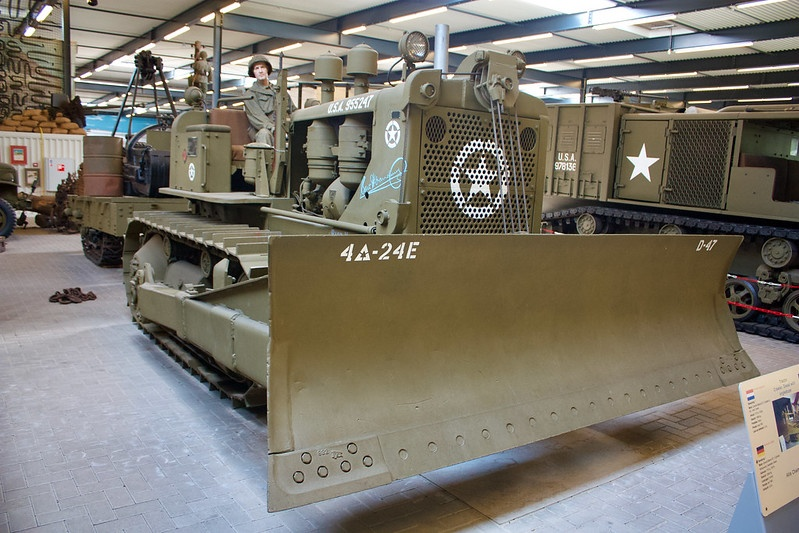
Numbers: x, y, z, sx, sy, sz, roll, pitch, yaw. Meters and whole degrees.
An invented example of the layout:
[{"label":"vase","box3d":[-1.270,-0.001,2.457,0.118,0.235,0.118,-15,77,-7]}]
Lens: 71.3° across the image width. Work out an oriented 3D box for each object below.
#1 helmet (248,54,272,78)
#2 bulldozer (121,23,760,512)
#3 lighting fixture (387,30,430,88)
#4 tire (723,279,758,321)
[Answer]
[{"label":"helmet","box3d":[-2.239,-3.277,8.825,0.392,0.296,0.146,-9,55,-21]},{"label":"bulldozer","box3d":[-0.589,0.029,6.784,4.919,3.071,5.859,-3,8,-35]},{"label":"lighting fixture","box3d":[0.105,-2.321,6.236,0.326,0.627,0.336,-10,22,-32]},{"label":"tire","box3d":[6.409,0.579,10.399,0.820,0.833,0.275,27,5,-44]}]
